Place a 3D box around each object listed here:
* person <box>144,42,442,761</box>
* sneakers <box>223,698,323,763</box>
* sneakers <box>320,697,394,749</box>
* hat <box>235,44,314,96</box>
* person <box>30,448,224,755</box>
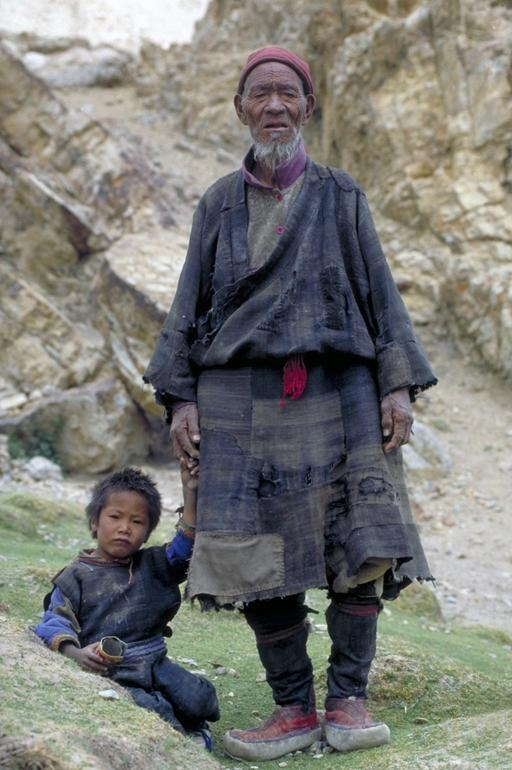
[{"bbox_3d":[0.135,0.003,4.322,1.063,2.626,0.369,3,-9,13],"label":"person"},{"bbox_3d":[0.059,1.283,4.256,0.358,0.132,0.168,-4,-8,-6],"label":"sneakers"},{"bbox_3d":[0.356,1.229,4.165,0.246,0.194,0.125,3,-8,13],"label":"sneakers"},{"bbox_3d":[0.100,-1.232,4.572,0.211,0.113,0.230,10,-46,5],"label":"hat"},{"bbox_3d":[-0.502,0.821,4.394,0.718,0.982,0.665,-3,-3,20],"label":"person"}]
